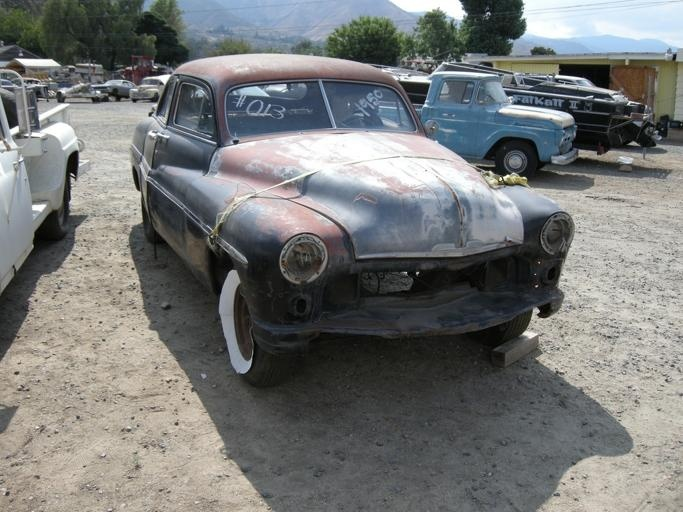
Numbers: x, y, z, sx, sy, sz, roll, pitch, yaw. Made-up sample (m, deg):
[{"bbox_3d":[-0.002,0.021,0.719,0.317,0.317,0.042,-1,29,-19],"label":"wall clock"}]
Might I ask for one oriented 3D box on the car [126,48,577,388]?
[{"bbox_3d":[-0.405,-0.641,4.347,2.598,1.697,3.914,-12,28,-33],"label":"car"}]
